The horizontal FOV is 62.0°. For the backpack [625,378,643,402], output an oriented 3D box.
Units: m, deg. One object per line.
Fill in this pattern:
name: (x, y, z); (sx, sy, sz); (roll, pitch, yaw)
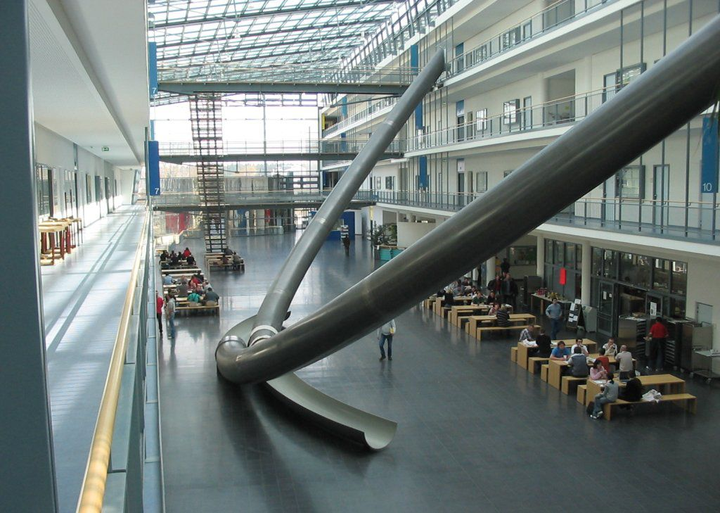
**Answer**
backpack: (5.674, 2.773, 12.401); (0.317, 0.477, 0.243); (3, 3, 23)
